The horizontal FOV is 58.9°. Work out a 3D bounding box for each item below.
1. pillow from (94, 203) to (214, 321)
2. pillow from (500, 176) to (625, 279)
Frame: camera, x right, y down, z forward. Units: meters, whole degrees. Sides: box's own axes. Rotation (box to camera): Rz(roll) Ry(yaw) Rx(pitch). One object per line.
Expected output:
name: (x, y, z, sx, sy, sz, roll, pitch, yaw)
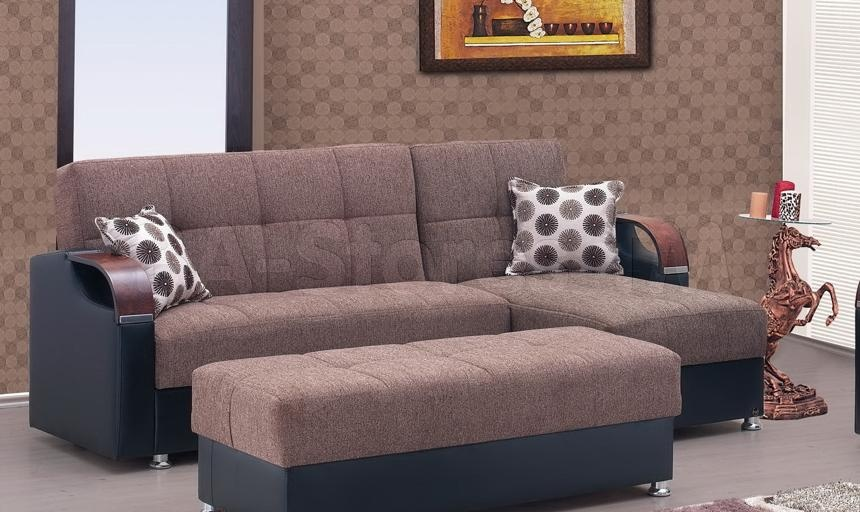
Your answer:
pillow: (-1.370, 0.024, 3.766, 0.340, 0.441, 0.369, 6, 14, 28)
pillow: (0.774, -0.140, 4.451, 0.643, 0.460, 0.211, -2, -26, -1)
